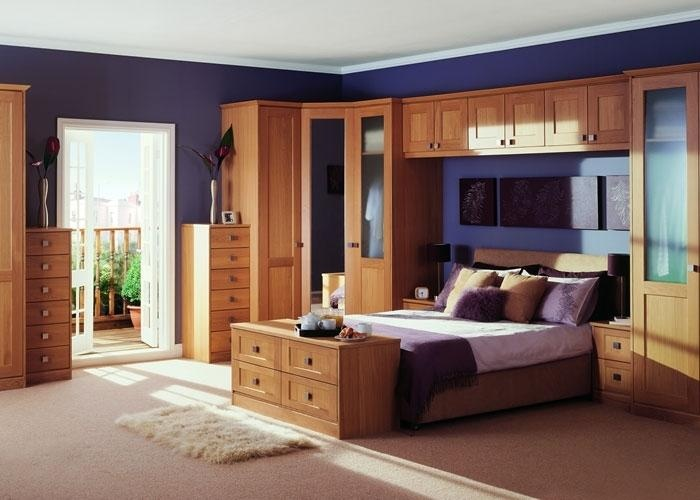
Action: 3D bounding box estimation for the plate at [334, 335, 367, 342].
[{"bbox_3d":[0.009,0.657,4.027,0.250,0.044,0.132,0,2,-2],"label":"plate"}]

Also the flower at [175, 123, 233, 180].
[{"bbox_3d":[-1.629,-1.158,6.350,0.638,0.388,0.623,-2,3,-6],"label":"flower"}]

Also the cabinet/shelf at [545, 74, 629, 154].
[{"bbox_3d":[2.204,-1.253,4.979,0.818,0.665,0.313,4,4,45],"label":"cabinet/shelf"}]

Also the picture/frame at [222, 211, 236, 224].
[{"bbox_3d":[-1.459,-0.384,6.444,0.171,0.155,0.090,0,-6,-9],"label":"picture/frame"}]

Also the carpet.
[{"bbox_3d":[-1.018,1.351,3.984,1.495,0.072,0.701,2,2,39],"label":"carpet"}]

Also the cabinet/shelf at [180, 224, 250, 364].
[{"bbox_3d":[-1.670,0.505,6.375,0.861,1.614,0.384,1,2,19],"label":"cabinet/shelf"}]

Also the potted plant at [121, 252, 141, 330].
[{"bbox_3d":[-3.230,0.626,7.920,0.252,1.078,0.491,0,2,-24],"label":"potted plant"}]

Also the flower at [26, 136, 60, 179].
[{"bbox_3d":[-3.218,-0.994,5.690,0.239,0.579,0.102,7,40,-13],"label":"flower"}]

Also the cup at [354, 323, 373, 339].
[{"bbox_3d":[0.091,0.620,4.102,0.122,0.085,0.120,-2,2,0],"label":"cup"}]
